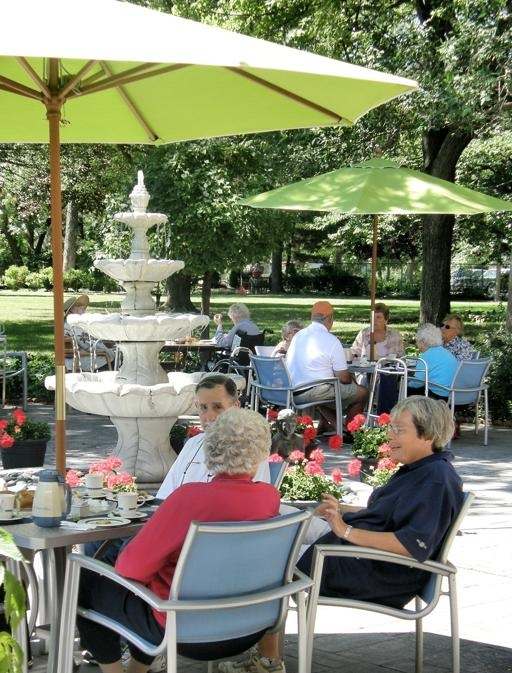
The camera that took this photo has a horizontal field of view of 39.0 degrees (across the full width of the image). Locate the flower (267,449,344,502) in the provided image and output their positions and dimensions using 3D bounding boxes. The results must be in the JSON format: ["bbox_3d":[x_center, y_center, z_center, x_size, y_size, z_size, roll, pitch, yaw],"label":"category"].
[{"bbox_3d":[0.271,0.726,3.795,0.293,0.175,0.269,-4,-17,-21],"label":"flower"}]

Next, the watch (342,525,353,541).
[{"bbox_3d":[0.320,0.695,2.562,0.033,0.043,0.045,23,29,11],"label":"watch"}]

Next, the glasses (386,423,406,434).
[{"bbox_3d":[0.521,0.343,2.690,0.045,0.027,0.041,0,-6,2],"label":"glasses"}]

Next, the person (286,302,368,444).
[{"bbox_3d":[0.683,0.358,7.358,0.903,1.348,0.815,-3,9,-41],"label":"person"}]

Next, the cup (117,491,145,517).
[{"bbox_3d":[-0.438,0.588,2.552,0.079,0.072,0.091,-1,-9,1],"label":"cup"}]

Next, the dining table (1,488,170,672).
[{"bbox_3d":[-0.570,0.858,2.474,0.609,0.492,0.576,2,-1,-34],"label":"dining table"}]

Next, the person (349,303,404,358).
[{"bbox_3d":[1.416,0.005,8.517,0.756,0.743,0.466,3,16,31],"label":"person"}]

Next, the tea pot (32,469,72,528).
[{"bbox_3d":[-0.655,0.517,2.300,0.098,0.155,0.126,1,10,-5],"label":"tea pot"}]

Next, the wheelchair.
[{"bbox_3d":[-0.327,0.269,9.937,0.968,0.983,0.775,9,13,-18],"label":"wheelchair"}]

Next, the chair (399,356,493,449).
[{"bbox_3d":[2.043,0.666,7.629,0.835,0.935,0.709,-4,6,-2],"label":"chair"}]

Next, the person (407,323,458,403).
[{"bbox_3d":[1.796,0.356,7.507,0.600,0.933,0.531,6,15,30],"label":"person"}]

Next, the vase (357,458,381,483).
[{"bbox_3d":[0.765,0.907,4.920,0.202,0.132,0.184,1,-1,-3],"label":"vase"}]

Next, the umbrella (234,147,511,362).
[{"bbox_3d":[1.229,-0.916,7.525,2.206,1.492,2.387,2,6,27],"label":"umbrella"}]

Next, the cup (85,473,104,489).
[{"bbox_3d":[-0.641,0.570,2.875,0.064,0.057,0.064,3,6,0],"label":"cup"}]
